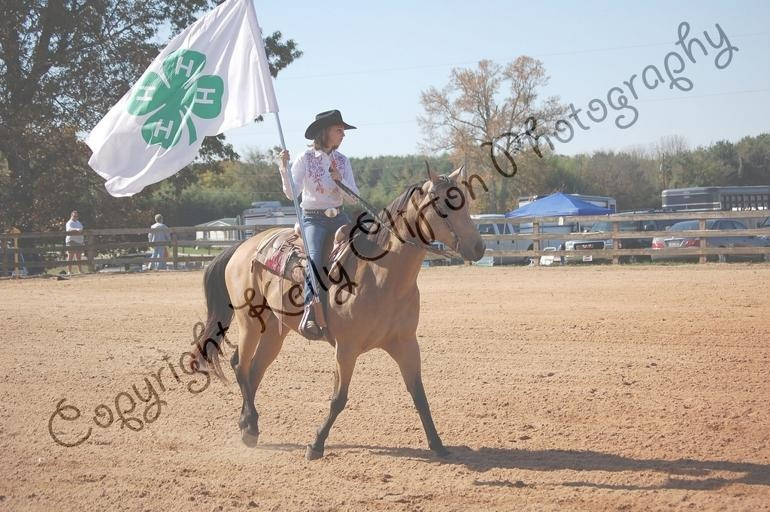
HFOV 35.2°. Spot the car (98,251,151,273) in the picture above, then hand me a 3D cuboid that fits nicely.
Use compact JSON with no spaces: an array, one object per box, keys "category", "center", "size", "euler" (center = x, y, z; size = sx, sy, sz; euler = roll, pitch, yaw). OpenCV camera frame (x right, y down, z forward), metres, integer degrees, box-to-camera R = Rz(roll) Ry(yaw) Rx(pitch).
[{"category":"car","center":[-10.785,0.257,50.555],"size":[2.080,0.740,8.306],"euler":[-2,3,-11]}]

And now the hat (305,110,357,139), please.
[{"category":"hat","center":[-1.429,-3.270,29.906],"size":[1.007,0.674,1.302],"euler":[-2,2,-5]}]
